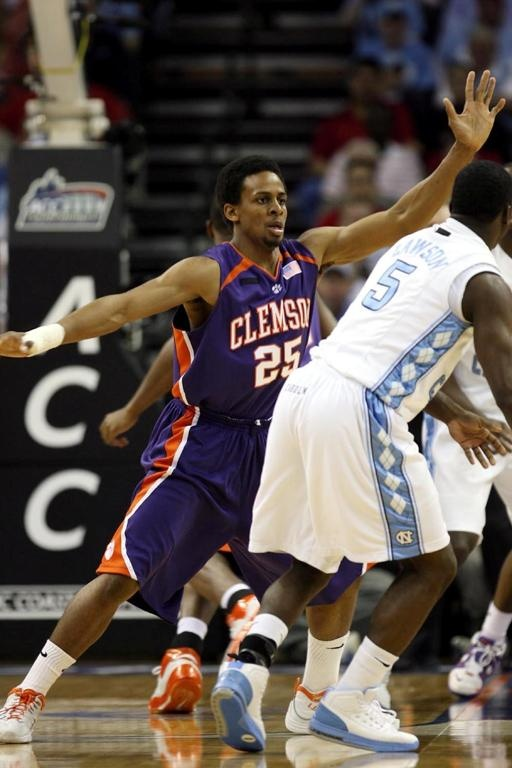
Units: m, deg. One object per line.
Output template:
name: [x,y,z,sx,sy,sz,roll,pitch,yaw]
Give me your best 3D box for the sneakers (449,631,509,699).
sneakers: [0.793,0.979,2.799,0.110,0.120,0.301,29,15,17]
